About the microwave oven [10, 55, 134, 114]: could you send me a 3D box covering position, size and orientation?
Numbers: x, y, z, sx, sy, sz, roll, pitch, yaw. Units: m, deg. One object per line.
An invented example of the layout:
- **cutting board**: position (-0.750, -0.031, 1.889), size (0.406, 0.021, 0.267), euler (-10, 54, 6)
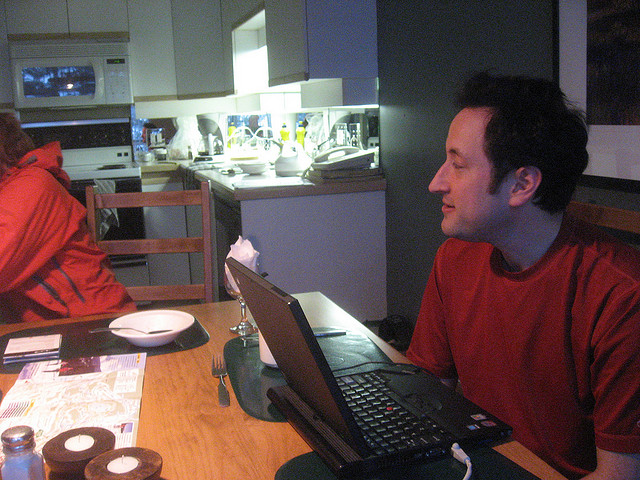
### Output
- **microwave oven**: position (-2.031, -1.281, 4.066), size (0.831, 0.437, 0.529), euler (-5, 13, -20)

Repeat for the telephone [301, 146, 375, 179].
- **telephone**: position (0.132, -0.481, 2.965), size (0.237, 0.087, 0.236), euler (-14, 5, -10)

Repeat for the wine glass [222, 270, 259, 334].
- **wine glass**: position (-0.217, 0.168, 1.388), size (0.097, 0.156, 0.097), euler (-20, -10, 14)

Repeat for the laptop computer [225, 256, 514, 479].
- **laptop computer**: position (0.078, 0.195, 0.961), size (0.374, 0.327, 0.399), euler (-11, 16, -26)

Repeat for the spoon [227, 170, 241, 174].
- **spoon**: position (-0.605, -0.484, 3.540), size (0.088, 0.017, 0.131), euler (-6, 14, -8)

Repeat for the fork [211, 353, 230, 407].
- **fork**: position (-0.220, 0.294, 1.104), size (0.025, 0.019, 0.166), euler (2, 29, -19)
